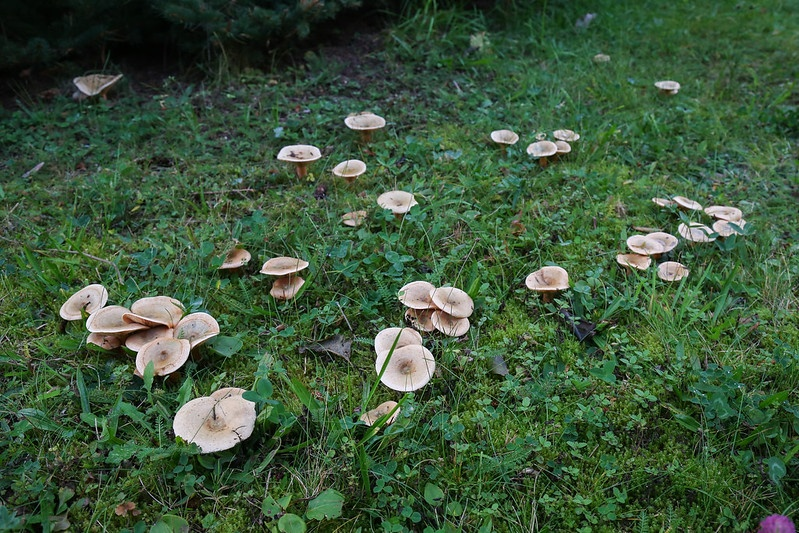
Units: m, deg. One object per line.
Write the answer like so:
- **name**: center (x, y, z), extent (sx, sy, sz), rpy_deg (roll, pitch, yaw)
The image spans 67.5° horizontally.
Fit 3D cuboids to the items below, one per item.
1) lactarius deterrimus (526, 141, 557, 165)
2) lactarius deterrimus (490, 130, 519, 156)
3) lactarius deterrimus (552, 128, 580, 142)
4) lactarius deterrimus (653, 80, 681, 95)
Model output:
- **lactarius deterrimus**: center (1.626, -1.351, 6.860), extent (0.280, 0.195, 0.291), rpy_deg (-19, 58, 9)
- **lactarius deterrimus**: center (1.238, -1.498, 7.083), extent (0.336, 0.282, 0.242), rpy_deg (8, 65, 2)
- **lactarius deterrimus**: center (1.971, -1.557, 7.089), extent (0.308, 0.110, 0.179), rpy_deg (17, 66, 6)
- **lactarius deterrimus**: center (3.425, -2.303, 7.683), extent (0.282, 0.179, 0.180), rpy_deg (21, 66, 8)
